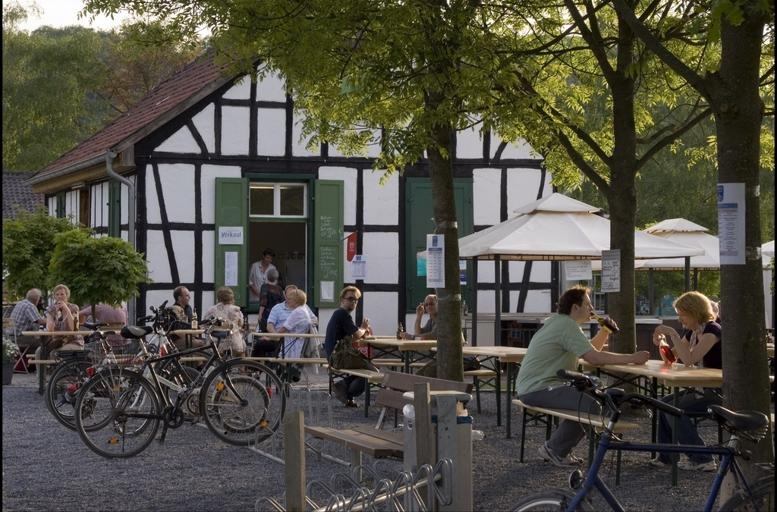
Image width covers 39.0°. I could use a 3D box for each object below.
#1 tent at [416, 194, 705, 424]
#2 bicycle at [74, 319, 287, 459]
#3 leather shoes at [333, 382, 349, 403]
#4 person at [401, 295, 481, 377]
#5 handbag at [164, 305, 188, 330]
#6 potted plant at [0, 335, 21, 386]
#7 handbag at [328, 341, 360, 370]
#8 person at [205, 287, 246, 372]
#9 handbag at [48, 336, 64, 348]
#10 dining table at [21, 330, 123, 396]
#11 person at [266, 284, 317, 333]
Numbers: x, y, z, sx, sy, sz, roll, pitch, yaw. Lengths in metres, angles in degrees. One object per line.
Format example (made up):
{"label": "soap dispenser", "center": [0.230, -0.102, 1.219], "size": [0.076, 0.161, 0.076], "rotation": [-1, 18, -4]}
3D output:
{"label": "tent", "center": [2.253, 0.758, 15.786], "size": [2.503, 1.699, 3.201], "rotation": [1, -2, -42]}
{"label": "bicycle", "center": [-2.588, 1.694, 13.961], "size": [2.506, 1.607, 1.302], "rotation": [-4, -3, -12]}
{"label": "leather shoes", "center": [-0.706, 2.042, 16.136], "size": [0.139, 0.359, 0.157], "rotation": [-36, -23, 15]}
{"label": "person", "center": [0.743, 1.481, 16.543], "size": [1.003, 1.629, 0.579], "rotation": [-2, -19, -27]}
{"label": "handbag", "center": [-3.074, 0.948, 15.831], "size": [0.440, 0.240, 0.624], "rotation": [5, -7, -1]}
{"label": "potted plant", "center": [-6.152, 1.749, 17.777], "size": [0.209, 0.744, 0.628], "rotation": [1, -2, -18]}
{"label": "handbag", "center": [-0.610, 1.413, 15.433], "size": [0.389, 0.443, 0.326], "rotation": [-2, -5, 25]}
{"label": "person", "center": [-2.571, 1.097, 17.078], "size": [0.831, 1.165, 0.868], "rotation": [0, -16, -14]}
{"label": "handbag", "center": [-5.395, 1.419, 17.726], "size": [0.196, 0.161, 0.208], "rotation": [-1, -7, 10]}
{"label": "dining table", "center": [-4.366, 1.506, 15.160], "size": [1.082, 0.589, 0.596], "rotation": [1, -5, -20]}
{"label": "person", "center": [-1.508, 0.800, 17.696], "size": [0.813, 1.132, 0.652], "rotation": [0, -9, 4]}
